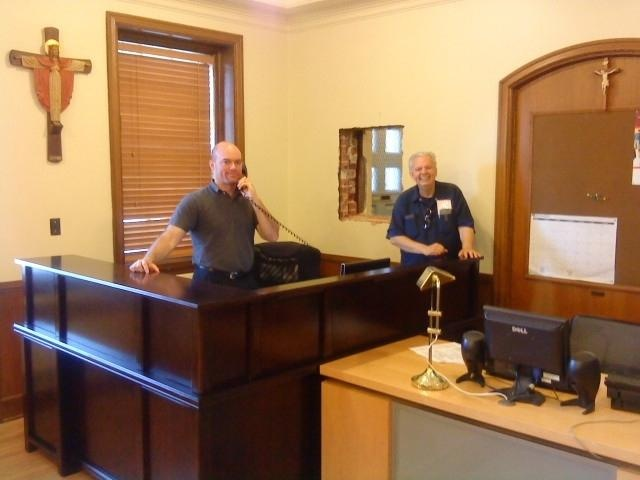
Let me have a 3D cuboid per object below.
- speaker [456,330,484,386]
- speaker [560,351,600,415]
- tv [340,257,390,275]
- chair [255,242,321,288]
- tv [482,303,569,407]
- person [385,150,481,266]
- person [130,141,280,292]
[{"bbox_3d":[0.729,0.556,2.607,0.150,0.246,0.160,9,15,33],"label":"speaker"},{"bbox_3d":[1.116,0.601,2.333,0.152,0.251,0.149,-5,7,10],"label":"speaker"},{"bbox_3d":[0.235,0.142,3.504,0.100,0.080,0.447,15,12,39],"label":"tv"},{"bbox_3d":[-0.285,0.097,4.075,0.481,0.377,0.357,-1,27,-11],"label":"chair"},{"bbox_3d":[0.892,0.521,2.427,0.367,0.427,0.148,9,22,39],"label":"tv"},{"bbox_3d":[0.872,-0.236,4.217,0.713,0.865,0.545,0,7,11],"label":"person"},{"bbox_3d":[-0.727,-0.144,3.627,0.364,0.987,1.031,4,8,35],"label":"person"}]
